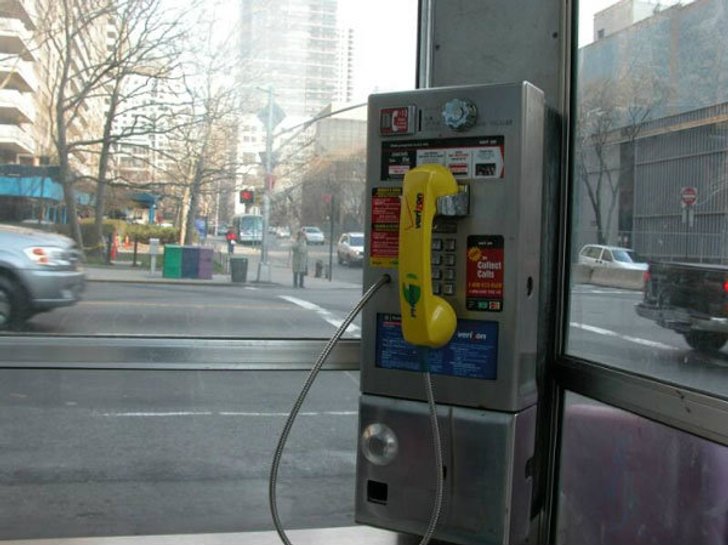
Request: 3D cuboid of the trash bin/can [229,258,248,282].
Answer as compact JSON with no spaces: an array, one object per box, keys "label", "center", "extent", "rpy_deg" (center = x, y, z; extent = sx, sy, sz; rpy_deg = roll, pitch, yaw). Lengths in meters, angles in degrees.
[{"label":"trash bin/can","center":[-0.568,-0.014,3.144],"extent":[0.086,0.114,0.098],"rpy_deg":[1,-4,-8]}]
